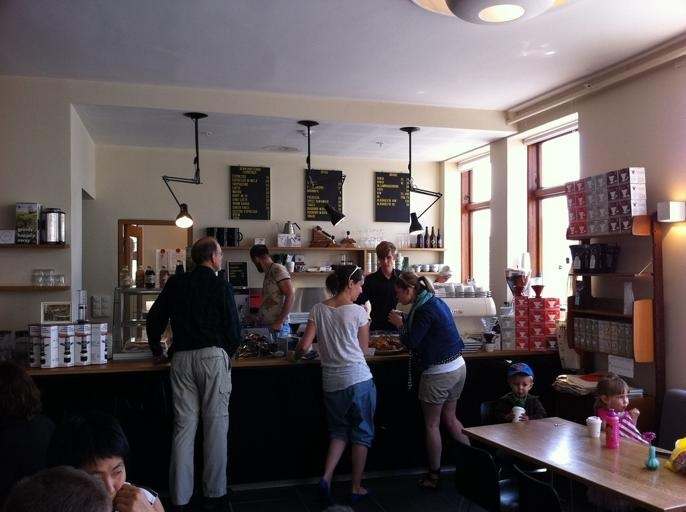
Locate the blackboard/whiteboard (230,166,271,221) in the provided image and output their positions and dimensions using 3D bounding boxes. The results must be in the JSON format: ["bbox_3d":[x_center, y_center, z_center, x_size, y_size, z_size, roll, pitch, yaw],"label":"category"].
[{"bbox_3d":[-1.229,-0.836,7.250,0.694,0.902,0.094,0,-1,-19],"label":"blackboard/whiteboard"}]

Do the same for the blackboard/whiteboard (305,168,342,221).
[{"bbox_3d":[-0.277,-0.817,7.397,0.731,0.909,0.102,0,-2,-21],"label":"blackboard/whiteboard"}]

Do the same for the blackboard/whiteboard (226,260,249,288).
[{"bbox_3d":[-1.349,0.228,7.085,0.322,0.442,0.061,2,-9,-21],"label":"blackboard/whiteboard"}]

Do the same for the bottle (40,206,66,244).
[{"bbox_3d":[-2.661,-0.265,5.095,0.285,0.416,0.254,2,-4,-30],"label":"bottle"}]

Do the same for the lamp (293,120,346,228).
[{"bbox_3d":[-0.236,-0.899,6.709,0.575,0.821,1.849,-2,-1,0],"label":"lamp"}]

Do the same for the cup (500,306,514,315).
[{"bbox_3d":[1.579,0.524,5.281,0.138,0.089,0.141,1,-3,0],"label":"cup"}]

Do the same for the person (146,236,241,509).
[{"bbox_3d":[-1.148,0.907,4.327,0.686,2.099,0.334,-2,-1,-17],"label":"person"}]

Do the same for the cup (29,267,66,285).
[{"bbox_3d":[-2.734,0.135,5.150,0.265,0.184,0.146,0,-6,-6],"label":"cup"}]

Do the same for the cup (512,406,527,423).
[{"bbox_3d":[1.279,1.141,3.992,0.102,0.085,0.105,6,-15,2],"label":"cup"}]

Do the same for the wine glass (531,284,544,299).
[{"bbox_3d":[1.901,0.341,5.381,0.118,0.124,0.121,3,-6,12],"label":"wine glass"}]

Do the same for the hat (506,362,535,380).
[{"bbox_3d":[1.407,0.881,4.415,0.183,0.134,0.257,-1,-27,7],"label":"hat"}]

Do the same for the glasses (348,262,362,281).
[{"bbox_3d":[0.097,0.130,4.432,0.034,0.114,0.086,30,6,-5],"label":"glasses"}]

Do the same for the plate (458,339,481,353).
[{"bbox_3d":[1.133,0.803,4.942,0.172,0.075,0.176,1,-4,4],"label":"plate"}]

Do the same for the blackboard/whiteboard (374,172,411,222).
[{"bbox_3d":[0.678,-0.840,7.747,0.678,0.923,0.097,0,-1,-17],"label":"blackboard/whiteboard"}]

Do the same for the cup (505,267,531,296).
[{"bbox_3d":[1.698,0.241,5.377,0.236,0.302,0.241,-1,-3,0],"label":"cup"}]

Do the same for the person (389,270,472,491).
[{"bbox_3d":[0.734,1.015,4.599,0.635,1.369,0.431,-2,-1,3],"label":"person"}]

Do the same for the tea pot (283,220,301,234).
[{"bbox_3d":[-0.670,-0.386,7.419,0.193,0.174,0.130,5,-9,-22],"label":"tea pot"}]

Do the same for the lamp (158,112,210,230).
[{"bbox_3d":[-1.806,-0.863,6.337,0.481,1.108,1.825,-2,-1,-18],"label":"lamp"}]

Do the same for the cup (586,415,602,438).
[{"bbox_3d":[1.634,1.122,3.654,0.109,0.114,0.114,0,-9,0],"label":"cup"}]

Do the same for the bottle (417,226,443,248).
[{"bbox_3d":[1.225,-0.255,7.834,0.282,0.278,0.082,4,-10,-18],"label":"bottle"}]

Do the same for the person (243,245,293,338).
[{"bbox_3d":[-0.681,0.332,5.332,0.378,0.894,0.714,-2,-1,-9],"label":"person"}]

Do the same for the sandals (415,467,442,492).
[{"bbox_3d":[0.743,1.846,4.626,0.234,0.201,0.112,3,-1,43],"label":"sandals"}]

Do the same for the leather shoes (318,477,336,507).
[{"bbox_3d":[-0.129,1.849,4.324,0.081,0.233,0.083,-2,19,33],"label":"leather shoes"}]
